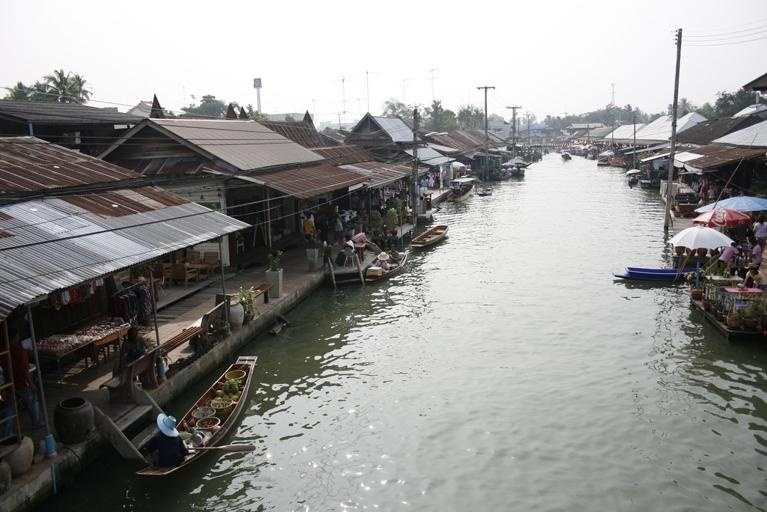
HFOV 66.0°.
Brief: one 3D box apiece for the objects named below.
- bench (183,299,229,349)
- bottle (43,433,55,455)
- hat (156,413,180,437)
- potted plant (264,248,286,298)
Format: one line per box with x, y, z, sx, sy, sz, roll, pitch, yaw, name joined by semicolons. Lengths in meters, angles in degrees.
-6.479;2.568;21.551;0.716;0.837;1.761;3;11;13;bench
-8.894;4.994;15.693;0.268;0.565;0.410;-12;16;-31;bottle
-5.938;4.528;16.095;0.222;0.602;0.640;-37;34;7;hat
-4.848;0.768;26.134;0.717;1.900;1.515;-6;14;-10;potted plant
